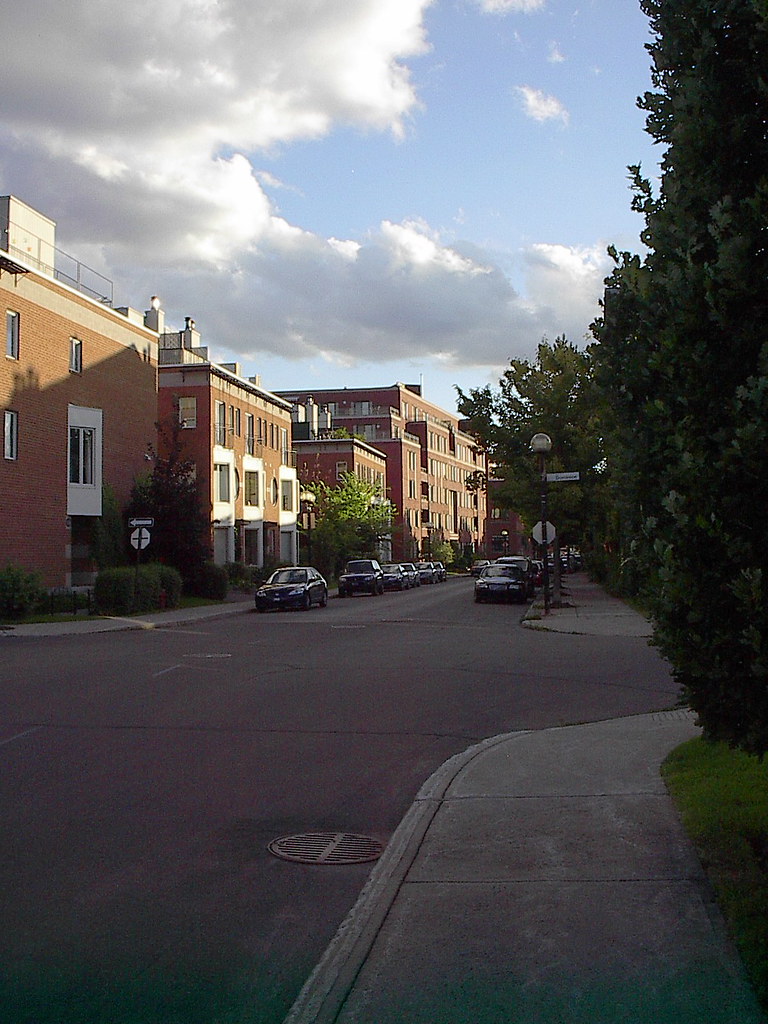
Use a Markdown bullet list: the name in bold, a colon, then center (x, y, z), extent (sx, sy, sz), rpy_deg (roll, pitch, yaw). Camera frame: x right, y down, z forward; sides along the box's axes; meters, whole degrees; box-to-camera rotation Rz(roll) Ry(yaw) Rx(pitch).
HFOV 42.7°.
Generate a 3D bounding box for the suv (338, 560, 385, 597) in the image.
- **suv**: center (-1.148, 3.158, 46.928), extent (1.964, 1.649, 2.265), rpy_deg (-1, -3, -2)
